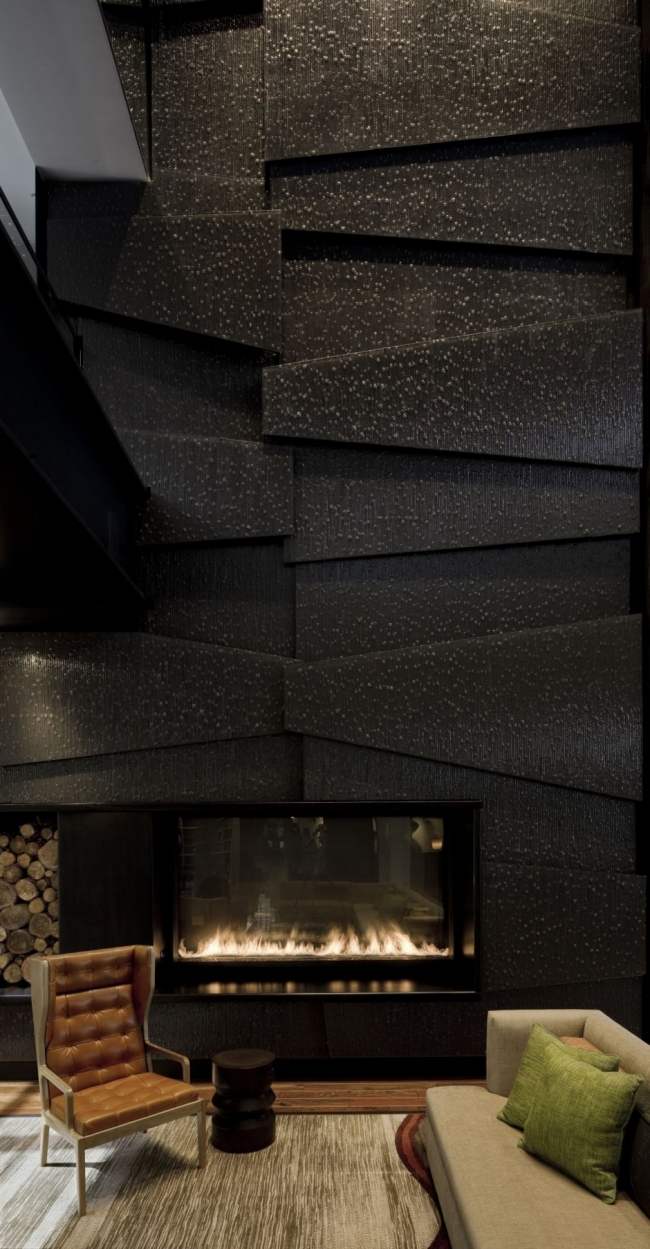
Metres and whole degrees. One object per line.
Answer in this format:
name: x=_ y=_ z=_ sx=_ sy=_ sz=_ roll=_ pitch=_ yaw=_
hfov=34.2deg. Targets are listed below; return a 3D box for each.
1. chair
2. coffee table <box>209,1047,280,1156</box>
chair: x=-0.773 y=1.614 z=3.882 sx=0.549 sy=0.726 sz=0.968 roll=-8 pitch=77 yaw=8
coffee table: x=-0.317 y=1.798 z=4.024 sx=0.244 sy=0.205 sz=0.348 roll=-1 pitch=79 yaw=1
